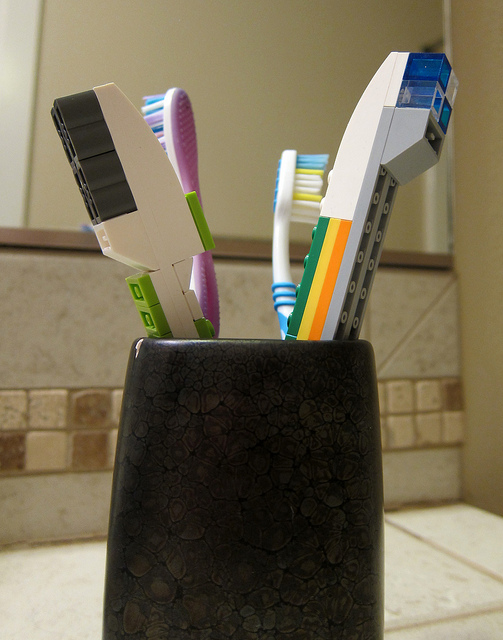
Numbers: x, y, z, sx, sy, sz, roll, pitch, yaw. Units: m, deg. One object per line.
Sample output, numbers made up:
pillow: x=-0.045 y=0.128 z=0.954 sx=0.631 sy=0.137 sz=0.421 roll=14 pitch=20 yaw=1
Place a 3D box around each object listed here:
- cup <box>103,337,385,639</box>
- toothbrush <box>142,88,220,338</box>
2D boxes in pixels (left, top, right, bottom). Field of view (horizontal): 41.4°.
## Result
cup: x=-0.003 y=0.081 z=0.326 sx=0.137 sy=0.062 sz=0.141 roll=0 pitch=72 yaw=1
toothbrush: x=-0.046 y=-0.057 z=0.426 sx=0.043 sy=0.017 sz=0.168 roll=-3 pitch=84 yaw=-35
